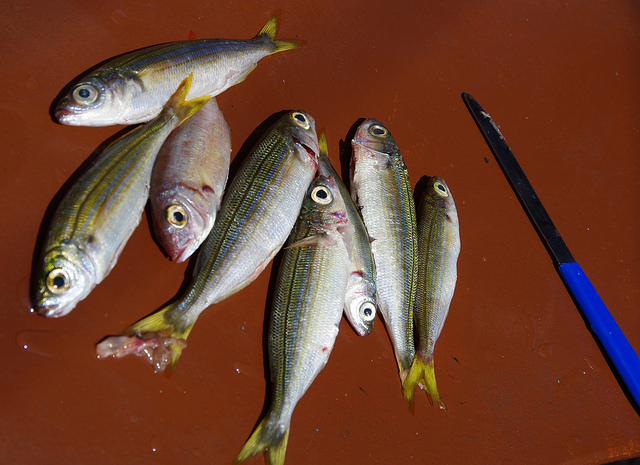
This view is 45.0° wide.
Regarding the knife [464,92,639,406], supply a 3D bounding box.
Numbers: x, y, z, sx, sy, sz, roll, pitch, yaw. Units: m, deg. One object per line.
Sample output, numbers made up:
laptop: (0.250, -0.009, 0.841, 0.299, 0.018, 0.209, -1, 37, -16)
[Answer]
knife: (1.569, 0.194, 5.367, 0.203, 0.120, 2.530, 1, 53, -15)
